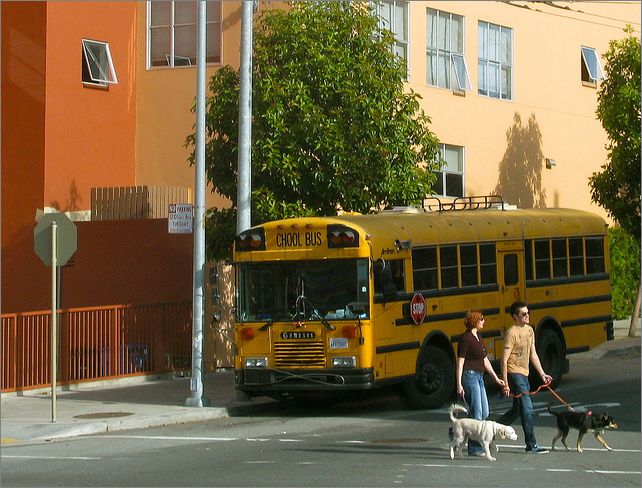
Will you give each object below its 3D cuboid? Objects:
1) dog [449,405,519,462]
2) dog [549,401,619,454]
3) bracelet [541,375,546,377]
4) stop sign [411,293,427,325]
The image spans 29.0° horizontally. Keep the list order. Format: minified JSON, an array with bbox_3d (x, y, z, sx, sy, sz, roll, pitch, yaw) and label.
[{"bbox_3d":[2.773,3.322,21.528,1.078,0.887,0.721,3,7,6],"label":"dog"},{"bbox_3d":[4.607,3.313,21.881,1.070,0.751,0.612,2,7,-2],"label":"dog"},{"bbox_3d":[3.934,2.361,21.995,0.037,0.039,0.139,-17,8,-31],"label":"bracelet"},{"bbox_3d":[1.968,1.358,25.327,0.065,0.544,0.550,2,3,26],"label":"stop sign"}]
